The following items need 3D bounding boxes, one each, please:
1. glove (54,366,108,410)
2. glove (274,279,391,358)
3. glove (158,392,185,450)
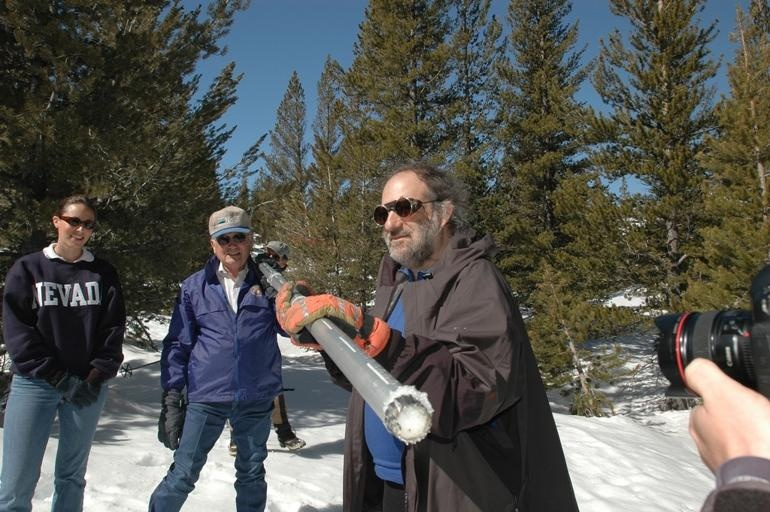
[{"bbox_3d":[-3.063,1.334,5.490,0.410,0.358,0.146,2,-5,-26],"label":"glove"},{"bbox_3d":[-0.395,0.464,3.950,0.756,0.445,0.247,22,-34,11],"label":"glove"},{"bbox_3d":[-2.277,1.759,5.830,0.433,0.568,0.240,-6,-16,43],"label":"glove"}]
